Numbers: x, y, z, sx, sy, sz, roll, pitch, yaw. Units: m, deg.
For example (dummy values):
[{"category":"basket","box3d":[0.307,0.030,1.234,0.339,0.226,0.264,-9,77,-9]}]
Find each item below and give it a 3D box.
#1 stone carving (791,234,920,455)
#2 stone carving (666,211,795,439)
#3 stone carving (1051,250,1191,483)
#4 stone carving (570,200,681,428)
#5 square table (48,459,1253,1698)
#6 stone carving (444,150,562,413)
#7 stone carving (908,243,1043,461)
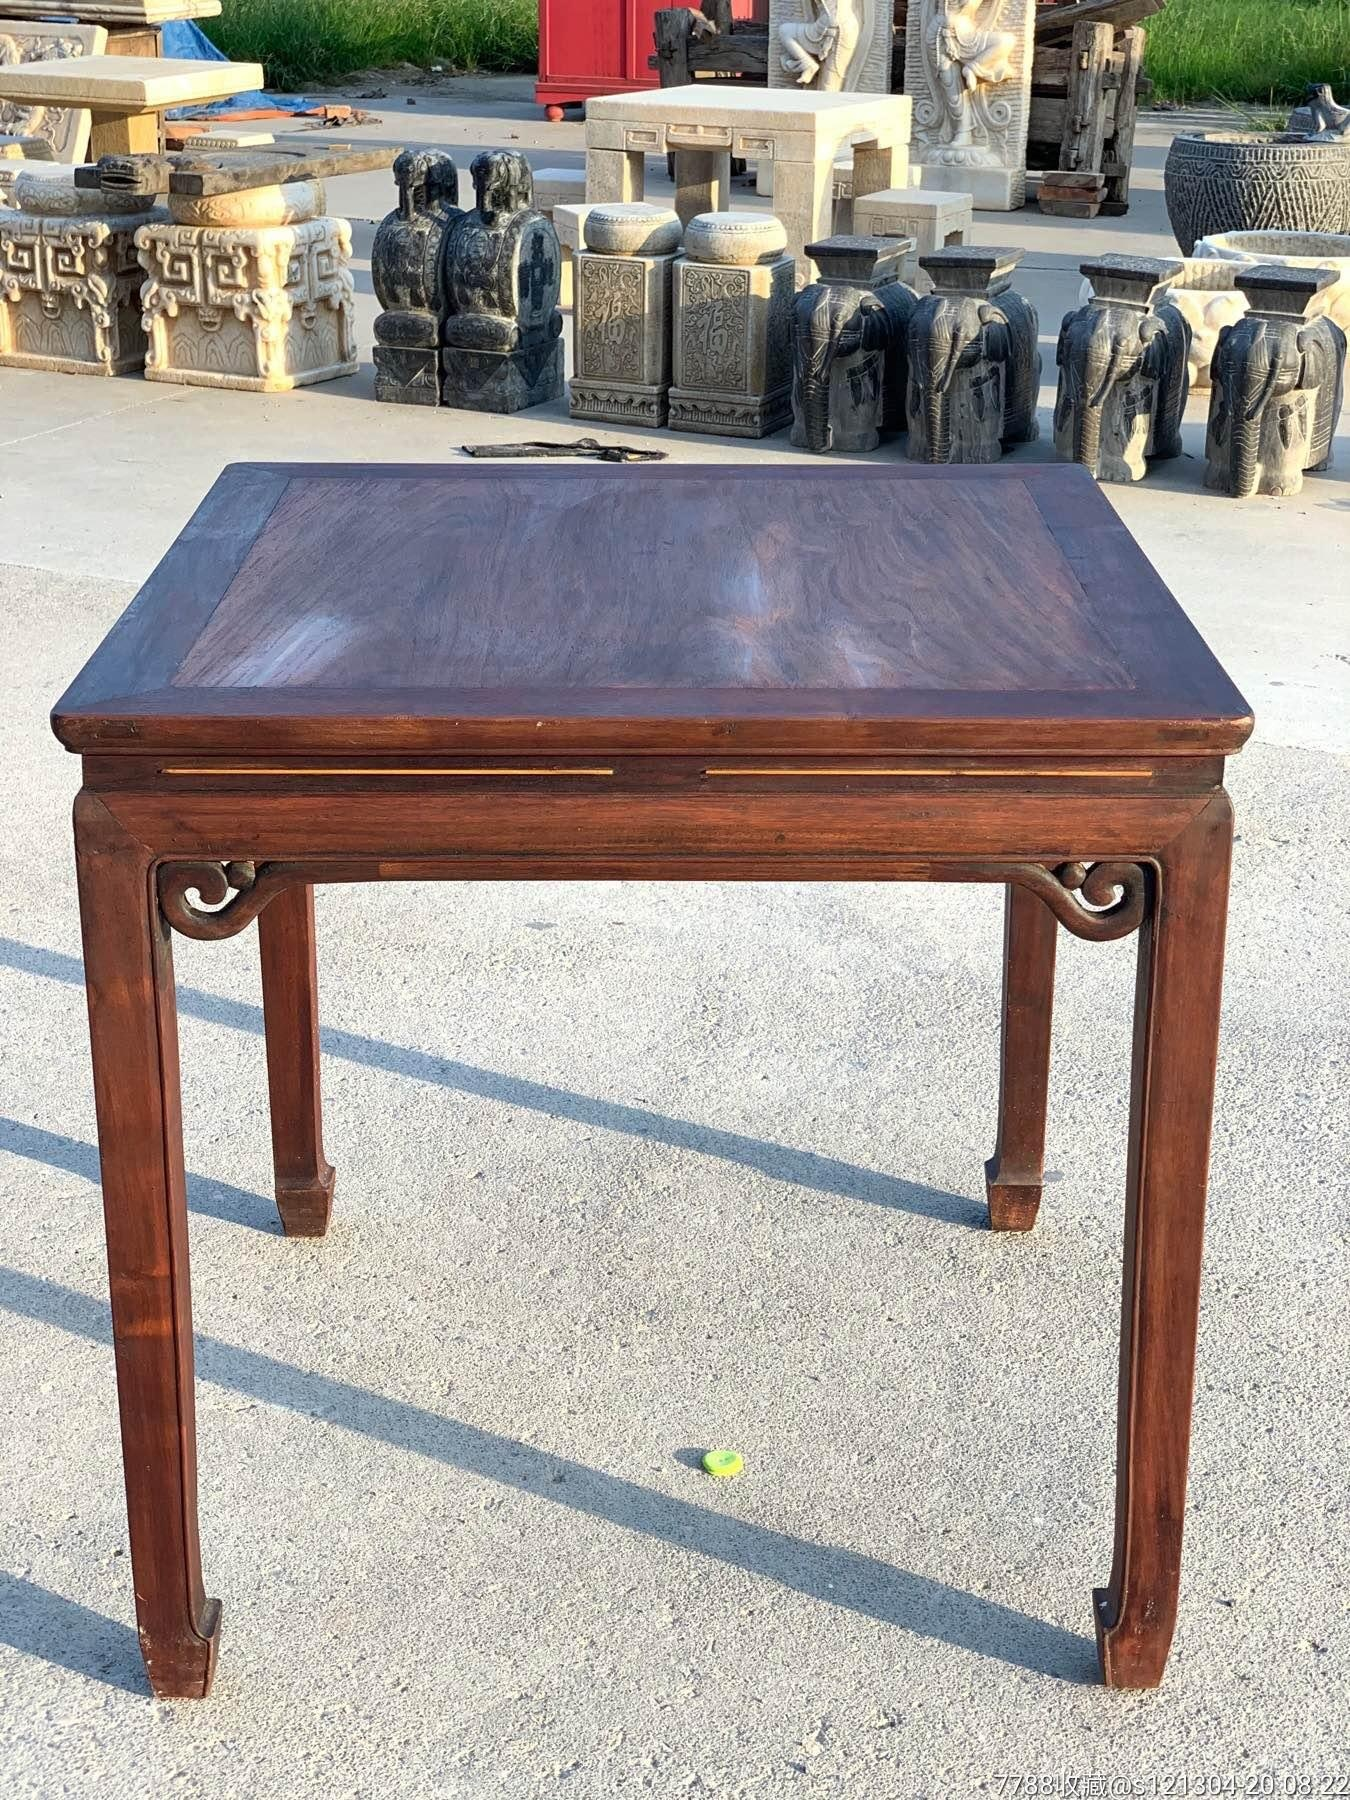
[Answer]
[{"category":"stone carving","box3d":[0.630,-1.953,5.871,0.553,0.717,0.275,-17,28,-36]},{"category":"stone carving","box3d":[0.199,-2.067,5.998,0.446,0.763,0.316,1,22,2]},{"category":"stone carving","box3d":[1.509,-1.772,5.569,0.466,0.709,0.323,-1,22,-3]},{"category":"stone carving","box3d":[-0.172,-2.115,6.054,0.484,0.830,0.475,7,30,9]},{"category":"square table","box3d":[-0.032,0.038,1.701,0.842,0.828,0.946,0,26,-2]},{"category":"stone carving","box3d":[-0.630,-2.274,6.183,0.463,0.885,0.400,-8,23,-19]},{"category":"stone carving","box3d":[0.996,-1.858,5.669,0.410,0.679,0.545,6,22,13]}]
